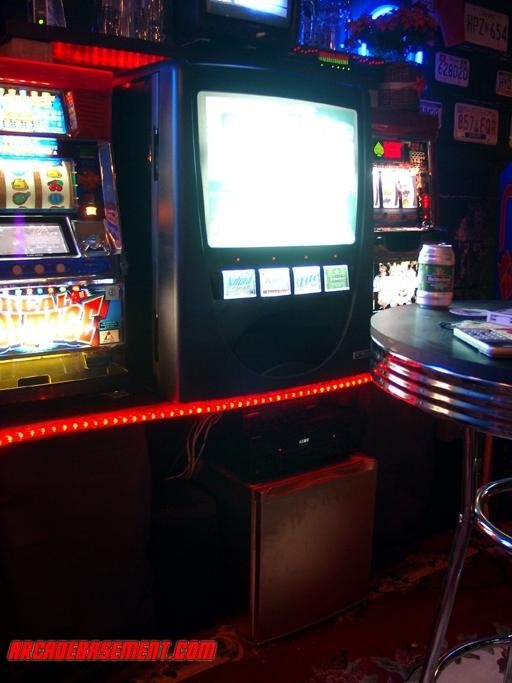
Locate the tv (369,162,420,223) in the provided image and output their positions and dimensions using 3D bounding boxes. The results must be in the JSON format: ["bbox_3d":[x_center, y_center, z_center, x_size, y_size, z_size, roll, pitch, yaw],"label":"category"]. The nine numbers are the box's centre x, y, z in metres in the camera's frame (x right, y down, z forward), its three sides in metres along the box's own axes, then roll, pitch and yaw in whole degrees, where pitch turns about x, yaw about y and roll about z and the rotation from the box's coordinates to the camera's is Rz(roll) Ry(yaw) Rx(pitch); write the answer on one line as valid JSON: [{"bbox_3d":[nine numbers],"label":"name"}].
[{"bbox_3d":[0.621,-0.657,2.473,0.280,0.268,0.059,-4,8,-34],"label":"tv"}]
